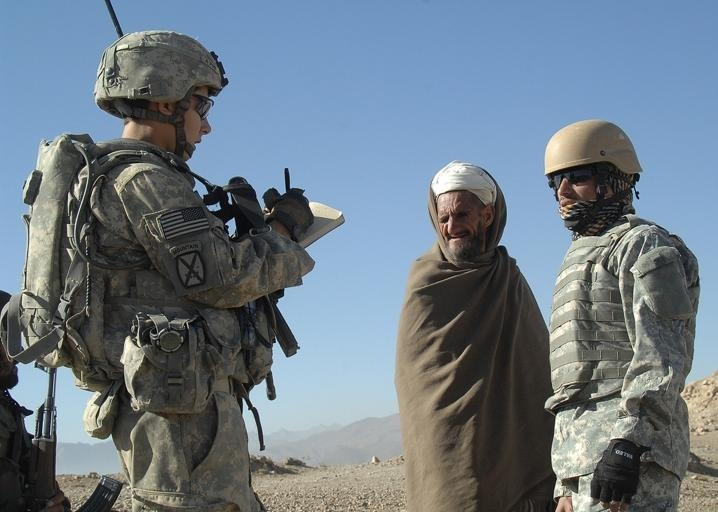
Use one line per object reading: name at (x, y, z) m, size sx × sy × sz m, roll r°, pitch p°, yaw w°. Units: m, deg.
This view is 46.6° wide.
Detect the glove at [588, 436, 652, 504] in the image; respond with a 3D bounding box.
glove at (1.577, 1.313, 5.136) m, size 0.248 × 0.433 × 0.123 m, roll 12°, pitch 1°, yaw -1°
